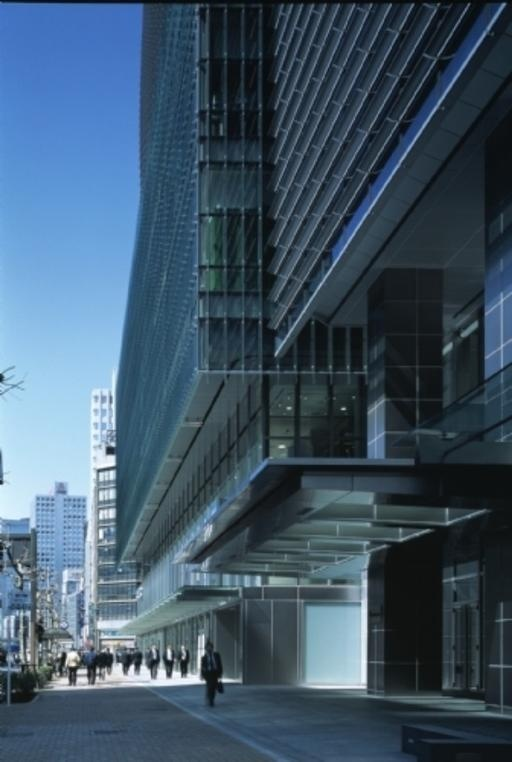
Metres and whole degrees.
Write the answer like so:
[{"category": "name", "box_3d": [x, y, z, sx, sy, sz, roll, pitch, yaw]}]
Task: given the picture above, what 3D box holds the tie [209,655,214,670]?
[{"category": "tie", "box_3d": [-0.879, 5.536, 21.389, 0.111, 0.283, 0.166, 2, -15, -8]}]
